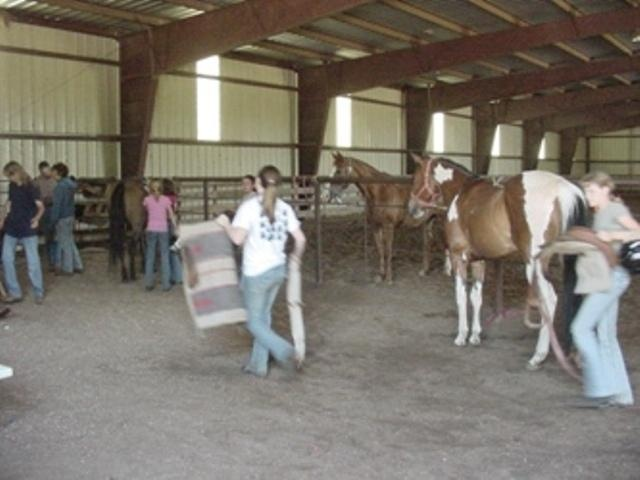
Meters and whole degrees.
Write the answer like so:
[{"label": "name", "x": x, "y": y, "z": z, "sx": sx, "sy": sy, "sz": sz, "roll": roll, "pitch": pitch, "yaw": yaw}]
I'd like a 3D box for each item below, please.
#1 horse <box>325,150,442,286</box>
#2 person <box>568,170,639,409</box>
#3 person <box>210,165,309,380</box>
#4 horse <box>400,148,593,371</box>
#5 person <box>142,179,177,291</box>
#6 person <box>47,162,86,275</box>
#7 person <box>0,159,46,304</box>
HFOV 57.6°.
[{"label": "horse", "x": 1.181, "y": -0.342, "z": 9.589, "sx": 2.471, "sy": 2.070, "sz": 0.682, "roll": 0, "pitch": 1, "yaw": -35}, {"label": "person", "x": 2.230, "y": 0.392, "z": 4.615, "sx": 0.549, "sy": 1.835, "sz": 0.384, "roll": 1, "pitch": 9, "yaw": 11}, {"label": "person", "x": -0.489, "y": 0.270, "z": 5.176, "sx": 0.701, "sy": 1.842, "sz": 0.259, "roll": -5, "pitch": 10, "yaw": -25}, {"label": "horse", "x": 1.778, "y": 0.133, "z": 6.140, "sx": 0.675, "sy": 2.071, "sz": 2.555, "roll": -1, "pitch": 2, "yaw": -28}, {"label": "person", "x": -2.428, "y": -0.102, "z": 8.734, "sx": 0.492, "sy": 1.659, "sz": 0.907, "roll": -4, "pitch": 10, "yaw": -17}, {"label": "person", "x": -4.231, "y": -0.354, "z": 9.644, "sx": 0.438, "sy": 1.845, "sz": 0.954, "roll": -5, "pitch": 10, "yaw": -25}, {"label": "person", "x": -3.851, "y": -0.069, "z": 7.415, "sx": 0.587, "sy": 1.857, "sz": 0.505, "roll": 6, "pitch": 11, "yaw": 35}]
